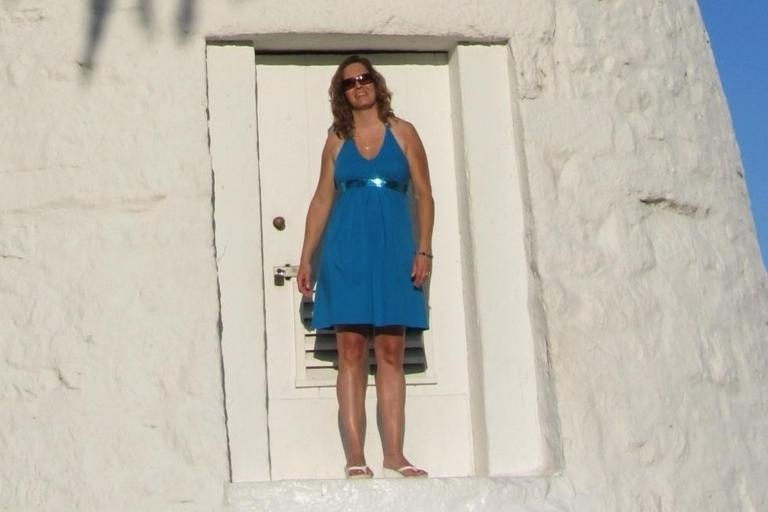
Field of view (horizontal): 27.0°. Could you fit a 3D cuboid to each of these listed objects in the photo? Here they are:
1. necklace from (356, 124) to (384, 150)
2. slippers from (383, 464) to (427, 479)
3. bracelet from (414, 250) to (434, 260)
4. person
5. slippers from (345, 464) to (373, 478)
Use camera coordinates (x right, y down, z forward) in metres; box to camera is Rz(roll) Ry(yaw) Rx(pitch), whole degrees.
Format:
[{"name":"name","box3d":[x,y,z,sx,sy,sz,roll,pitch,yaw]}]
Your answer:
[{"name":"necklace","box3d":[-0.073,-0.621,8.180,0.128,0.141,0.033,-12,-24,8]},{"name":"slippers","box3d":[0.100,1.057,7.851,0.215,0.060,0.226,1,-4,1]},{"name":"bracelet","box3d":[0.202,-0.015,8.068,0.101,0.033,0.042,4,-5,-37]},{"name":"person","box3d":[-0.098,0.018,8.113,0.681,2.160,0.528,1,-4,1]},{"name":"slippers","box3d":[-0.125,1.056,7.844,0.126,0.062,0.231,1,-4,-3]}]
